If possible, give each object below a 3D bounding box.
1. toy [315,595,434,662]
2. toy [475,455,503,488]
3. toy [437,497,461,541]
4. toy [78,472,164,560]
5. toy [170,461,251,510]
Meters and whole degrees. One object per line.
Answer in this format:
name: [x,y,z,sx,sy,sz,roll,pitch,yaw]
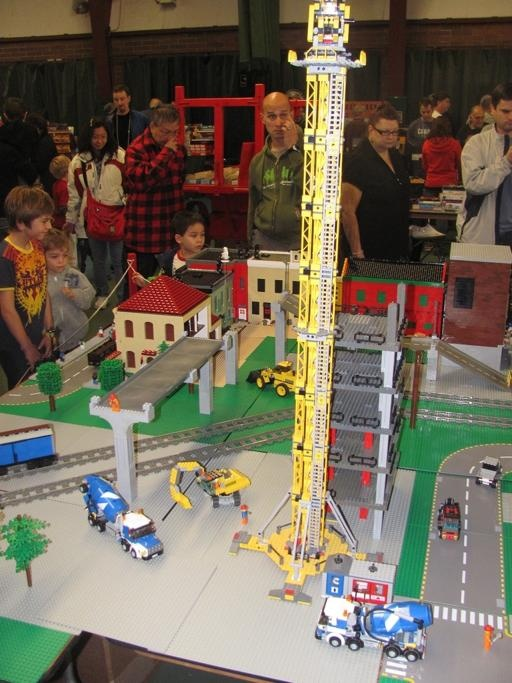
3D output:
toy: [0.902,2.183,4.388,0.868,0.402,0.406,5,41,10]
toy: [2.883,1.604,6.964,0.246,0.193,0.403,12,45,24]
toy: [2.067,1.906,5.997,0.213,0.181,0.398,-1,37,14]
toy: [-1.355,1.753,5.859,0.410,0.544,1.255,-23,41,-38]
toy: [-0.570,1.642,6.505,0.769,0.338,0.511,0,26,4]
